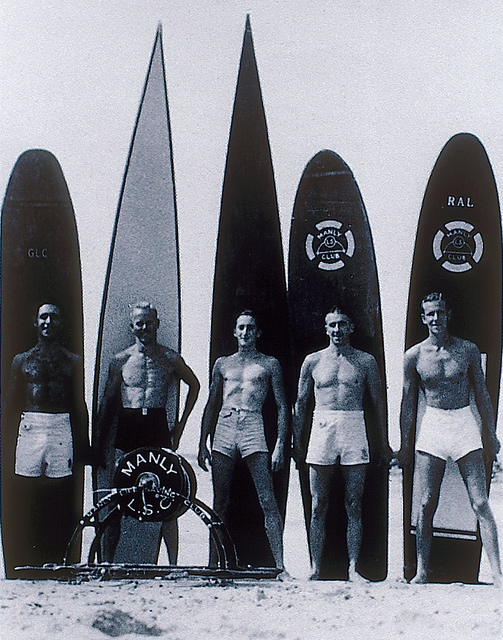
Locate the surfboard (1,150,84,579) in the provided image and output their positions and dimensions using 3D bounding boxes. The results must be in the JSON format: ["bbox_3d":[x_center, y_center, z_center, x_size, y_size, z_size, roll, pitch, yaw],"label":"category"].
[{"bbox_3d":[-1.036,0.208,8.494,0.470,2.113,0.052,1,-3,8],"label":"surfboard"}]

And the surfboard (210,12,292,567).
[{"bbox_3d":[-0.010,-0.152,8.414,0.317,2.453,0.209,1,5,2],"label":"surfboard"}]

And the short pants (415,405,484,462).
[{"bbox_3d":[0.991,0.540,8.341,0.263,0.229,0.039,-1,-1,3],"label":"short pants"}]
